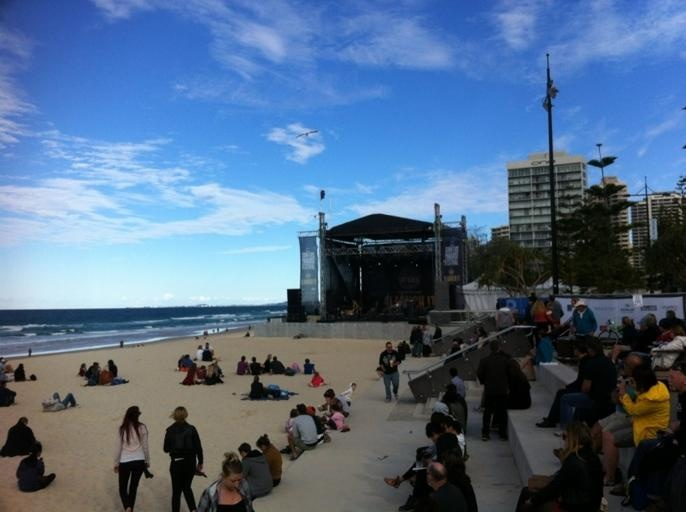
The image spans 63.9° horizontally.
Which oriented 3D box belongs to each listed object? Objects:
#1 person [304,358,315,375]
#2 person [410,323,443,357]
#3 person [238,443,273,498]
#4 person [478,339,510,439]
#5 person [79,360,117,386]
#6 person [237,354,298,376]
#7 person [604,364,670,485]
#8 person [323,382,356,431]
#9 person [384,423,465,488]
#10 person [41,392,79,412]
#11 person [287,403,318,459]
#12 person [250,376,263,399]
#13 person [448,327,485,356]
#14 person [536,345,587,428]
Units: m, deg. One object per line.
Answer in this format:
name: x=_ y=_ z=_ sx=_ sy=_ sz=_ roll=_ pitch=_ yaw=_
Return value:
person: x=-1.499 y=4.816 z=24.081 sx=0.448 sy=0.691 sz=0.803 roll=-2 pitch=-4 yaw=-7
person: x=4.140 y=4.197 z=27.392 sx=1.143 sy=1.846 sz=0.821 roll=-15 pitch=-40 yaw=27
person: x=-1.839 y=4.239 z=11.071 sx=0.713 sy=0.933 sz=0.781 roll=-14 pitch=4 yaw=-8
person: x=3.314 y=2.868 z=12.153 sx=0.693 sy=2.082 sz=0.679 roll=-1 pitch=4 yaw=1
person: x=-10.577 y=5.074 z=24.034 sx=1.231 sy=0.950 sz=1.411 roll=-1 pitch=-4 yaw=-29
person: x=-3.445 y=4.987 z=24.595 sx=1.784 sy=0.724 sz=1.316 roll=0 pitch=-7 yaw=-15
person: x=4.564 y=2.645 z=8.717 sx=1.060 sy=1.826 sz=0.705 roll=3 pitch=6 yaw=31
person: x=-0.145 y=4.178 z=15.433 sx=0.715 sy=0.963 sz=2.066 roll=-3 pitch=-4 yaw=-1
person: x=1.385 y=3.509 z=9.595 sx=1.359 sy=1.244 sz=0.665 roll=-1 pitch=-16 yaw=7
person: x=-9.839 y=5.071 z=19.092 sx=0.741 sy=0.446 sz=1.120 roll=3 pitch=2 yaw=40
person: x=-0.976 y=4.174 z=13.246 sx=0.760 sy=1.161 sz=0.847 roll=-3 pitch=-4 yaw=-5
person: x=-3.056 y=4.708 z=19.597 sx=0.548 sy=0.842 sz=0.675 roll=0 pitch=-4 yaw=-2
person: x=4.501 y=3.068 z=19.951 sx=1.814 sy=0.699 sz=0.647 roll=-17 pitch=-20 yaw=7
person: x=4.276 y=2.440 z=10.348 sx=1.000 sy=1.727 sz=0.609 roll=-1 pitch=6 yaw=10
